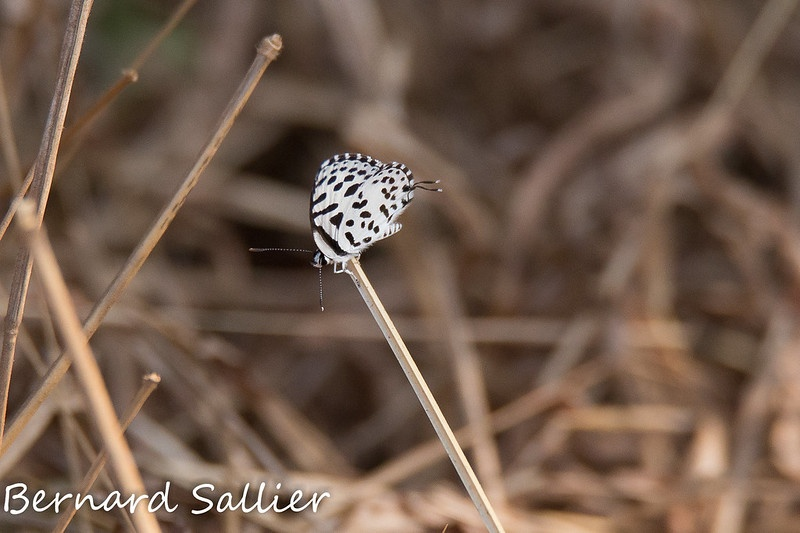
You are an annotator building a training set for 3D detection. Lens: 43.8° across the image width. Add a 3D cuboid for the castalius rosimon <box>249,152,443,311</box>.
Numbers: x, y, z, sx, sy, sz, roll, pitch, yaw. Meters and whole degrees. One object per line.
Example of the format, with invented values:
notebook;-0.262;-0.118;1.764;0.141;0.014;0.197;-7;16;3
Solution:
castalius rosimon;-0.076;-0.068;1.616;0.193;0.113;0.184;-28;14;9
